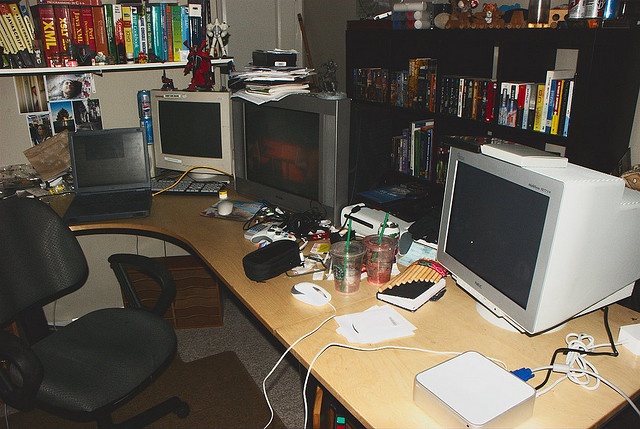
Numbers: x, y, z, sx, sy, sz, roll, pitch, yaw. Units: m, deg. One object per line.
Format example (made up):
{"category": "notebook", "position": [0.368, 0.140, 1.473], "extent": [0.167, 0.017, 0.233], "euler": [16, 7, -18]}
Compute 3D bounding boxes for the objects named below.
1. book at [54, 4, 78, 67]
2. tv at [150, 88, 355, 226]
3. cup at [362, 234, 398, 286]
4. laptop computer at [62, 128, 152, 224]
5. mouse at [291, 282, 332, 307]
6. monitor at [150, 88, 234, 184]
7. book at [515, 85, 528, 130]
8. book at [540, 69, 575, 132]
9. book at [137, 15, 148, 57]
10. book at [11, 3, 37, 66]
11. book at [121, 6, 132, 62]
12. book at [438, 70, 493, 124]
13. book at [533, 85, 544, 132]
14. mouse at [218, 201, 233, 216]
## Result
{"category": "book", "position": [-1.532, -1.068, 2.826], "extent": [0.121, 0.349, 0.051], "euler": [-13, 26, -20]}
{"category": "tv", "position": [-0.401, -0.473, 3.010], "extent": [1.454, 0.690, 0.545], "euler": [16, 27, 33]}
{"category": "cup", "position": [0.277, 0.235, 2.130], "extent": [0.157, 0.179, 0.157], "euler": [9, -1, 0]}
{"category": "laptop computer", "position": [-1.262, -0.224, 2.859], "extent": [0.566, 0.410, 0.584], "euler": [-7, 29, -14]}
{"category": "mouse", "position": [-0.033, 0.334, 2.000], "extent": [0.128, 0.037, 0.086], "euler": [15, 27, 30]}
{"category": "monitor", "position": [-0.811, -0.540, 3.214], "extent": [0.594, 0.579, 0.356], "euler": [6, 18, 16]}
{"category": "book", "position": [0.986, -0.531, 2.307], "extent": [0.056, 0.153, 0.149], "euler": [10, 40, 12]}
{"category": "book", "position": [1.110, -0.524, 2.202], "extent": [0.132, 0.236, 0.244], "euler": [9, 20, 24]}
{"category": "book", "position": [-1.135, -1.146, 2.998], "extent": [0.067, 0.177, 0.182], "euler": [-9, 45, -15]}
{"category": "book", "position": [-1.720, -1.044, 2.740], "extent": [0.034, 0.338, 0.046], "euler": [-18, 28, -28]}
{"category": "book", "position": [-1.215, -1.148, 2.955], "extent": [0.045, 0.310, 0.242], "euler": [-7, 23, -25]}
{"category": "book", "position": [0.768, -0.624, 2.556], "extent": [0.297, 0.191, 0.160], "euler": [6, 5, -2]}
{"category": "book", "position": [1.046, -0.516, 2.257], "extent": [0.022, 0.209, 0.168], "euler": [7, 20, 26]}
{"category": "mouse", "position": [-0.537, -0.031, 2.673], "extent": [0.084, 0.061, 0.068], "euler": [-7, 24, -9]}
